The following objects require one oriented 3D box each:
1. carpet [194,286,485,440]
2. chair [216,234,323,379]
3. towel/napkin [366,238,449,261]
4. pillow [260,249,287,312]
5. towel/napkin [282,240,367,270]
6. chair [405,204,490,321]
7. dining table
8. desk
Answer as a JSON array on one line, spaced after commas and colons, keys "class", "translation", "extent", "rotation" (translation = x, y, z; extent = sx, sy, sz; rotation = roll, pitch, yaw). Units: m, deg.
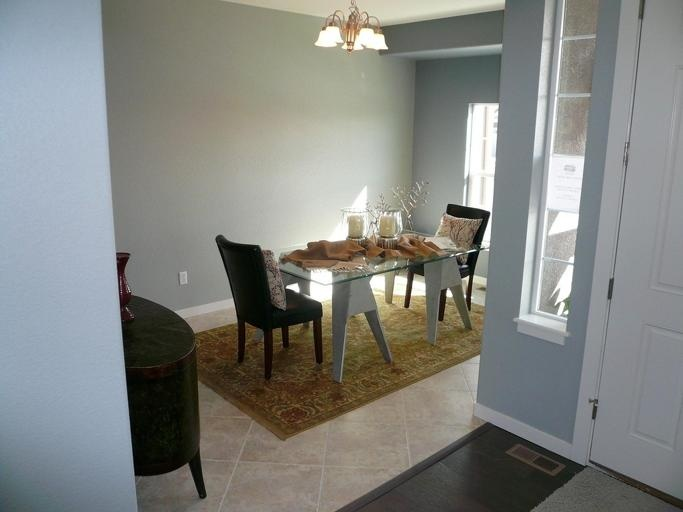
[{"class": "carpet", "translation": [0.318, 0.759, 4.500], "extent": [2.695, 0.013, 1.843], "rotation": [-15, 13, -29]}, {"class": "chair", "translation": [-0.576, 0.357, 3.929], "extent": [0.695, 1.131, 0.621], "rotation": [-9, 18, -34]}, {"class": "towel/napkin", "translation": [0.517, -0.055, 4.157], "extent": [0.322, 0.111, 0.322], "rotation": [-8, 14, -37]}, {"class": "pillow", "translation": [-0.516, 0.180, 3.671], "extent": [0.098, 0.364, 0.343], "rotation": [-8, -9, 16]}, {"class": "towel/napkin", "translation": [-0.126, -0.012, 4.012], "extent": [0.358, 0.118, 0.361], "rotation": [-10, 18, -37]}, {"class": "chair", "translation": [1.106, 0.088, 5.017], "extent": [0.671, 1.163, 0.578], "rotation": [-22, 30, -39]}, {"class": "dining table", "translation": [0.468, 0.302, 4.250], "extent": [1.379, 0.744, 0.863], "rotation": [-13, 21, -9]}, {"class": "desk", "translation": [-0.893, 0.737, 2.408], "extent": [0.301, 0.492, 0.910], "rotation": [-12, 25, -32]}]
